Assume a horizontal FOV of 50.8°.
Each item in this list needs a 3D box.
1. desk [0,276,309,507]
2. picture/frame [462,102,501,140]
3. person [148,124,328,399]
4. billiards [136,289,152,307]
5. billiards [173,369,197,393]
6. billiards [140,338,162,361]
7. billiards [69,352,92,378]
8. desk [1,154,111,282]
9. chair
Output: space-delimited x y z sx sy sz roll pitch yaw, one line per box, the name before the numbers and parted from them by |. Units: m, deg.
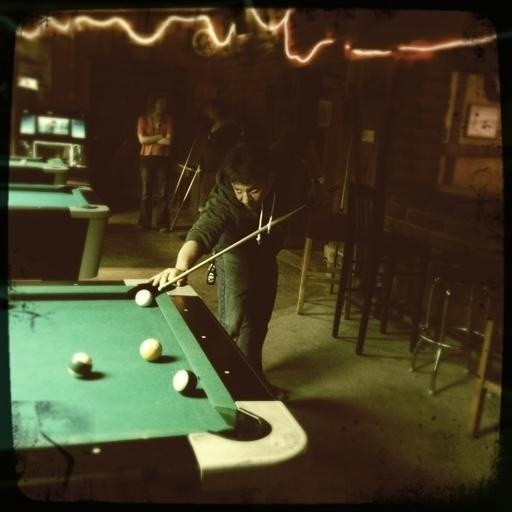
desk | -0.273 0.379 1.325 0.538 0.284 0.873 4 18 -15
picture/frame | 1.680 -0.967 4.000 0.227 0.226 0.477 8 5 20
person | -0.060 0.054 2.710 0.877 1.314 0.404 -9 29 -25
billiards | -0.410 0.152 2.036 0.055 0.062 0.051 23 9 2
billiards | -0.183 0.330 1.397 0.051 0.056 0.034 -20 -30 31
billiards | -0.303 0.274 1.565 0.053 0.067 0.059 -4 0 8
billiards | -0.466 0.294 1.446 0.054 0.071 0.059 11 -9 -7
desk | -1.304 -0.151 3.523 0.567 0.584 0.893 4 5 -26
chair | 0.878 0.078 3.719 0.558 1.054 1.011 7 5 14
